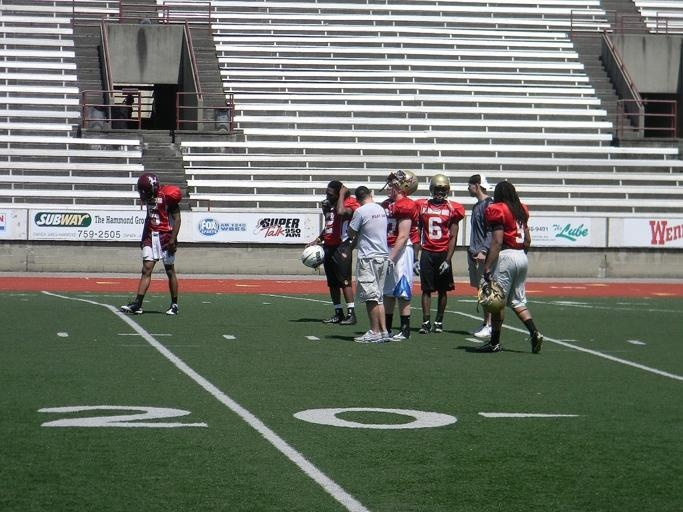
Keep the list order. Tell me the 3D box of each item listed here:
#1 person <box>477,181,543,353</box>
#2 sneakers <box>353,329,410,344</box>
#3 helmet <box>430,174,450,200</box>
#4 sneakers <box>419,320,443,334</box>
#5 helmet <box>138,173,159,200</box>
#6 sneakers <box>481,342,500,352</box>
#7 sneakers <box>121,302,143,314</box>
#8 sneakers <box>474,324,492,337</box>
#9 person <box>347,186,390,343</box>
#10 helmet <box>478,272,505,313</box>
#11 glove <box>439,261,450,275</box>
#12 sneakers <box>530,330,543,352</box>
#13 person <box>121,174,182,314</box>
[{"bbox_3d":[2.380,0.169,17.258,0.833,2.427,0.839,3,10,7],"label":"person"},{"bbox_3d":[0.566,1.212,18.160,0.743,0.244,0.264,1,-1,-10],"label":"sneakers"},{"bbox_3d":[1.502,-1.093,19.204,0.351,0.341,0.400,2,3,0],"label":"helmet"},{"bbox_3d":[1.375,1.135,19.197,0.164,0.163,0.436,-3,-7,26],"label":"sneakers"},{"bbox_3d":[-3.166,-1.186,20.359,0.392,0.431,0.457,0,-20,1],"label":"helmet"},{"bbox_3d":[2.083,1.304,17.455,0.292,0.105,0.109,3,12,19],"label":"sneakers"},{"bbox_3d":[-3.433,0.868,20.337,0.415,0.202,0.141,7,18,-1],"label":"sneakers"},{"bbox_3d":[2.140,1.172,18.838,0.329,0.120,0.115,-2,8,-42],"label":"sneakers"},{"bbox_3d":[0.392,0.145,17.980,0.636,2.266,0.596,-2,10,-19],"label":"person"},{"bbox_3d":[1.997,0.519,17.057,0.420,0.404,0.528,7,17,-9],"label":"helmet"},{"bbox_3d":[1.561,0.177,19.068,0.137,0.191,0.059,45,6,26],"label":"glove"},{"bbox_3d":[2.732,1.204,17.232,0.149,0.323,0.160,-12,47,-9],"label":"sneakers"},{"bbox_3d":[-3.154,-0.196,20.812,0.855,2.446,1.440,0,10,-8],"label":"person"}]
